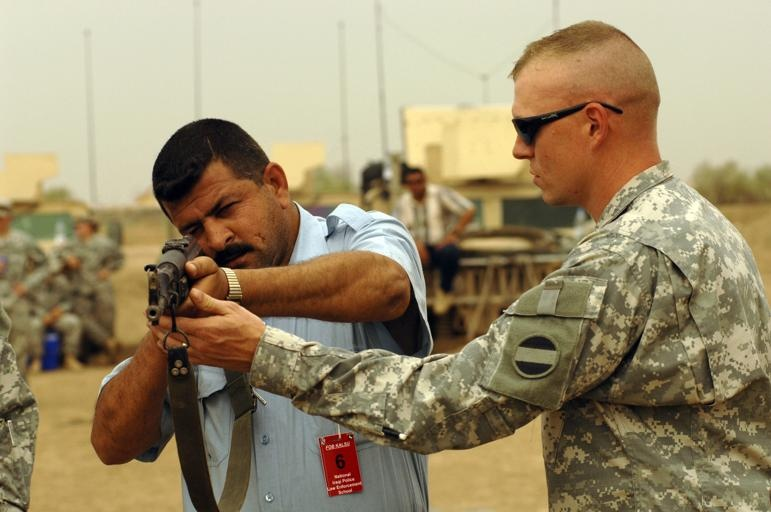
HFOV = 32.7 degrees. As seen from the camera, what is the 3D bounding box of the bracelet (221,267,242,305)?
[{"bbox_3d":[-0.777,0.157,6.715,0.090,0.180,0.170,-1,5,-7],"label":"bracelet"}]
